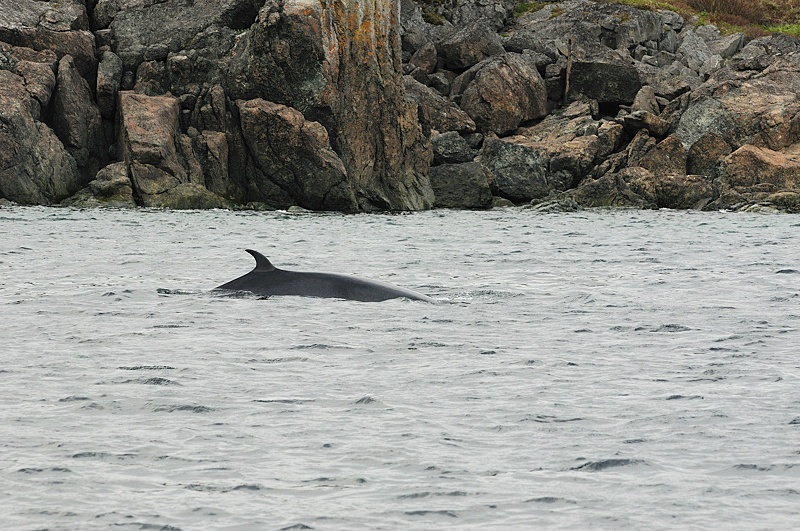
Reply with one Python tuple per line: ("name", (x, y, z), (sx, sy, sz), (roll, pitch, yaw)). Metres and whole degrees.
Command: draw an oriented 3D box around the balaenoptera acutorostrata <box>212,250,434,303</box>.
("balaenoptera acutorostrata", (-3.197, 0.642, 66.846), (9.593, 1.632, 2.427), (5, 8, 1))
